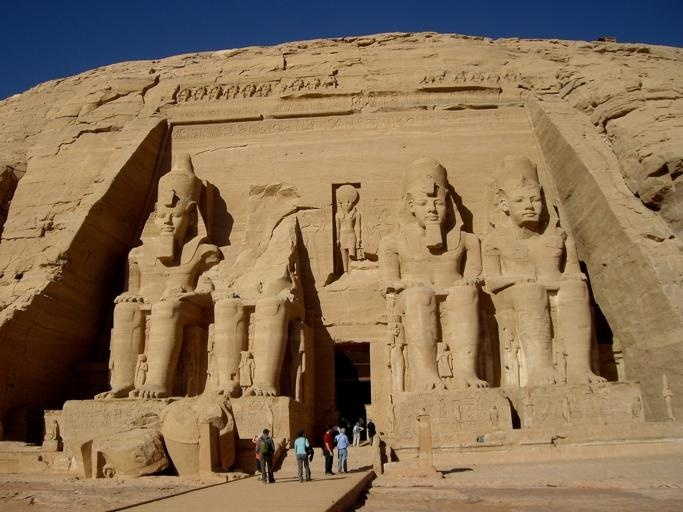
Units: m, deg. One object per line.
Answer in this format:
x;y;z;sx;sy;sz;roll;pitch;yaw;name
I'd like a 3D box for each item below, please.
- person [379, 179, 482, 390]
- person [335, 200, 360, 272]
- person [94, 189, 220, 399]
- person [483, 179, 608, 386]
1.555;0.447;12.105;1.655;3.731;0.688;-4;-23;8;person
0.126;-0.379;13.264;0.457;1.321;0.277;-15;-26;31;person
-3.098;0.597;12.222;1.628;3.780;0.686;1;-23;-6;person
3.267;0.362;12.017;1.643;3.751;0.574;-7;-23;13;person
